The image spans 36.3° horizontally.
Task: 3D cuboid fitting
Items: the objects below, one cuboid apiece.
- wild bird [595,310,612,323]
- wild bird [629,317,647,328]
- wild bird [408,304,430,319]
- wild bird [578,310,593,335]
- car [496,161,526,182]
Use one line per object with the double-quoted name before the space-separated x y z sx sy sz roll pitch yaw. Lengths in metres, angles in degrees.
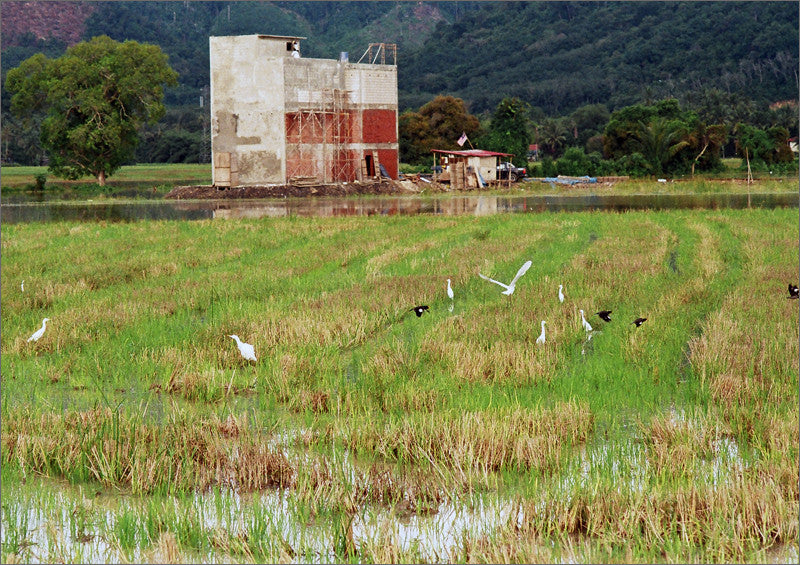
"wild bird" 9.450 1.556 57.024 0.310 0.626 0.974 -3 7 -37
"wild bird" 11.087 1.829 56.461 0.684 0.546 0.777 1 11 9
"wild bird" 0.960 1.356 57.563 1.200 0.636 0.401 6 2 37
"wild bird" 8.667 1.761 56.553 0.621 1.190 1.394 1 10 9
"car" 9.837 -9.647 107.393 2.503 1.288 1.491 6 9 1
